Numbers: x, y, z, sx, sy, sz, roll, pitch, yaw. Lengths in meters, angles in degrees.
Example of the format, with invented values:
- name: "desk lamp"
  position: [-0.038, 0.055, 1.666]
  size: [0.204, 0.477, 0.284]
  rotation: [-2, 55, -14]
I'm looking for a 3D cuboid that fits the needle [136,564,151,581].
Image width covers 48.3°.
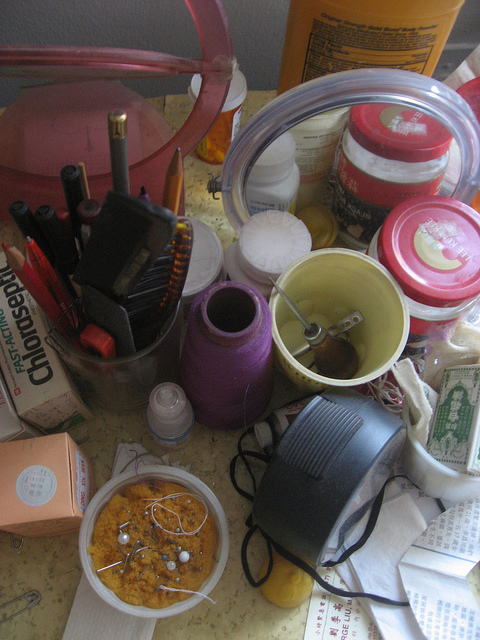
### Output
- name: "needle"
  position: [-0.077, 0.204, 0.434]
  size: [0.003, 0.003, 0.017]
  rotation: [29, 55, 20]

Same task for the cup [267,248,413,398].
- name: "cup"
  position: [0.093, 0.000, 0.486]
  size: [0.091, 0.125, 0.090]
  rotation: [0, 84, 1]

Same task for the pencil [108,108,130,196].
- name: "pencil"
  position: [-0.081, -0.115, 0.362]
  size: [0.011, 0.054, 0.012]
  rotation: [8, 45, -2]

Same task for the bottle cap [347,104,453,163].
- name: "bottle cap"
  position: [0.147, -0.175, 0.502]
  size: [0.095, 0.027, 0.062]
  rotation: [17, 47, 9]

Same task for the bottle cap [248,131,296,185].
- name: "bottle cap"
  position: [0.037, -0.156, 0.528]
  size: [0.055, 0.043, 0.023]
  rotation: [-31, 57, -31]

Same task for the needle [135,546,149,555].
- name: "needle"
  position: [-0.081, 0.190, 0.442]
  size: [0.010, 0.001, 0.002]
  rotation: [-28, 37, -14]

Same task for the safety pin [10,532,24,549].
- name: "safety pin"
  position: [-0.194, 0.191, 0.464]
  size: [0.014, 0.004, 0.010]
  rotation: [11, 46, 3]

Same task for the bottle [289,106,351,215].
- name: "bottle"
  position: [0.078, -0.181, 0.603]
  size: [0.052, 0.185, 0.058]
  rotation: [-13, 64, -3]

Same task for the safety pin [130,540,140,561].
- name: "safety pin"
  position: [-0.086, 0.189, 0.441]
  size: [0.004, 0.003, 0.015]
  rotation: [10, 56, 3]

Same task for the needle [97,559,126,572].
- name: "needle"
  position: [-0.104, 0.198, 0.434]
  size: [0.026, 0.002, 0.003]
  rotation: [-17, 12, -21]

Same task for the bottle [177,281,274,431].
- name: "bottle"
  position: [-0.015, 0.044, 0.461]
  size: [0.091, 0.166, 0.058]
  rotation: [10, 46, 3]

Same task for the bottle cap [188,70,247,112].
- name: "bottle cap"
  position: [-0.022, -0.229, 0.534]
  size: [0.065, 0.026, 0.066]
  rotation: [-3, 72, -4]
